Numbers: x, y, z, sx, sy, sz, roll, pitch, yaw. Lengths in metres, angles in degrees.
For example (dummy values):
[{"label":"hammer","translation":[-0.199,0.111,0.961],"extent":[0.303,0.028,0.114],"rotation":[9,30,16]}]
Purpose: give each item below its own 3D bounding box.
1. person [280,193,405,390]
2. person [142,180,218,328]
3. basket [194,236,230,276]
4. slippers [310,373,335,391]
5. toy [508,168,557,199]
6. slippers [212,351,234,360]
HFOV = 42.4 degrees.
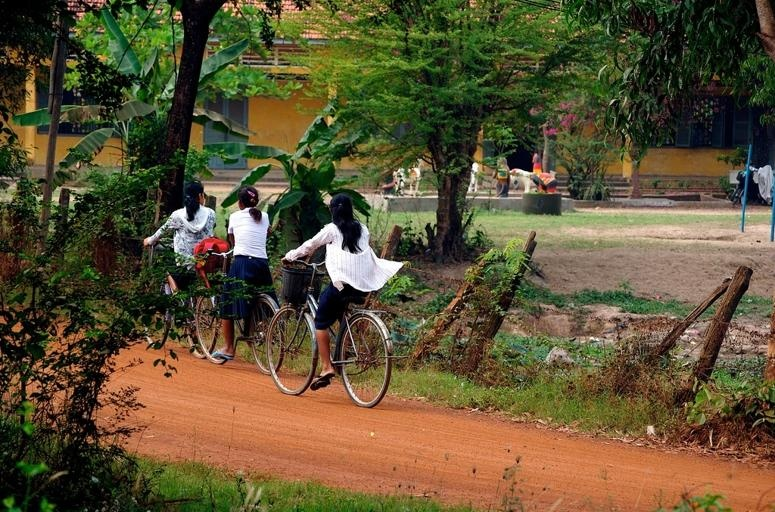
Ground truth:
[{"label":"person","translation":[-0.576,0.536,13.710],"extent":[1.392,2.750,0.607],"rotation":[1,4,0]},{"label":"person","translation":[-3.259,0.072,15.589],"extent":[0.984,2.439,1.006],"rotation":[2,11,-18]},{"label":"basket","translation":[-2.498,0.014,14.305],"extent":[0.430,0.446,0.312],"rotation":[-22,33,-31]},{"label":"slippers","translation":[-0.876,1.735,13.902],"extent":[0.174,0.188,0.460],"rotation":[24,-41,-31]},{"label":"toy","translation":[5.462,-2.974,37.538],"extent":[1.596,0.724,1.317],"rotation":[10,-1,-10]},{"label":"slippers","translation":[-2.499,1.493,15.249],"extent":[0.327,0.134,0.123],"rotation":[12,7,15]}]
